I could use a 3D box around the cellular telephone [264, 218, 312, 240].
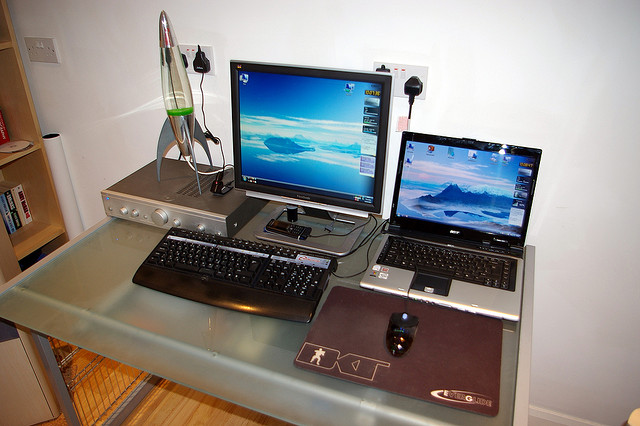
[{"bbox_3d":[-0.134,0.056,1.844,0.177,0.079,0.030,12,-54,14],"label":"cellular telephone"}]

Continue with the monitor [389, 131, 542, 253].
[{"bbox_3d":[0.616,-0.125,1.906,0.505,0.520,0.484,12,-59,22],"label":"monitor"}]

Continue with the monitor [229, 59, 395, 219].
[{"bbox_3d":[-0.030,-0.307,1.743,0.649,0.063,0.551,9,-61,12],"label":"monitor"}]

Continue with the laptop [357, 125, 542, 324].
[{"bbox_3d":[0.472,0.015,1.617,0.539,0.558,0.371,11,-53,25],"label":"laptop"}]

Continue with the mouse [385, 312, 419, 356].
[{"bbox_3d":[0.265,0.394,1.445,0.083,0.138,0.050,18,-18,15],"label":"mouse"}]
